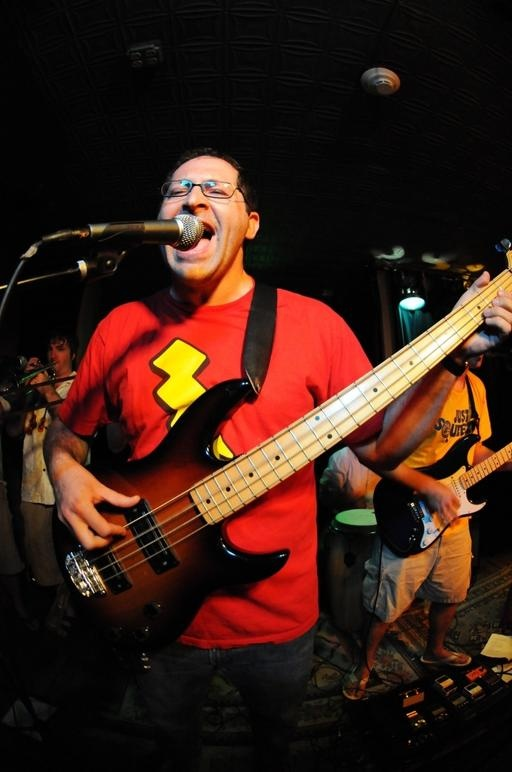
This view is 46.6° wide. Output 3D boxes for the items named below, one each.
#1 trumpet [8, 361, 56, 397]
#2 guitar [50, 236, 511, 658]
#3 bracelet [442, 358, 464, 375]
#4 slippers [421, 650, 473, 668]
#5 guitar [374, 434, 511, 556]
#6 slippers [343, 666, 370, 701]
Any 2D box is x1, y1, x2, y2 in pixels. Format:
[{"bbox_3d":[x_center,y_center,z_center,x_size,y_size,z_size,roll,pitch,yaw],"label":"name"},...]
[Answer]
[{"bbox_3d":[-0.608,-0.027,1.594,0.096,0.044,0.095,-20,82,13],"label":"trumpet"},{"bbox_3d":[0.036,0.126,1.424,1.218,0.131,0.398,-40,89,-2],"label":"guitar"},{"bbox_3d":[0.424,-0.044,1.279,0.012,0.031,0.046,-19,11,-33],"label":"bracelet"},{"bbox_3d":[0.549,0.781,1.687,0.161,0.051,0.059,1,74,-8],"label":"slippers"},{"bbox_3d":[0.485,0.277,1.597,0.471,0.171,0.049,-31,12,-3],"label":"guitar"},{"bbox_3d":[0.269,0.814,1.643,0.046,0.120,0.032,29,19,-2],"label":"slippers"}]
